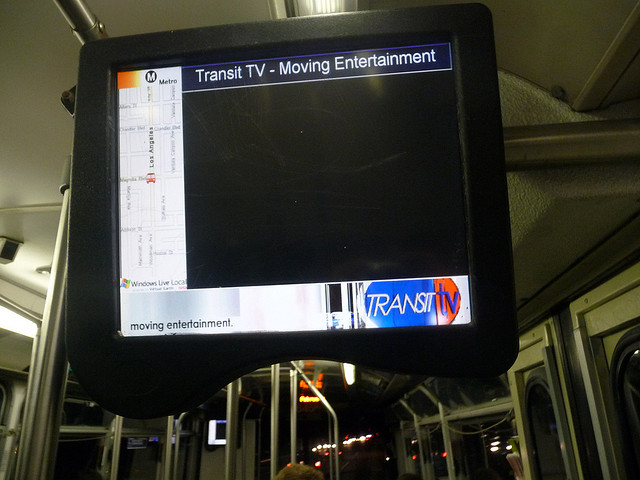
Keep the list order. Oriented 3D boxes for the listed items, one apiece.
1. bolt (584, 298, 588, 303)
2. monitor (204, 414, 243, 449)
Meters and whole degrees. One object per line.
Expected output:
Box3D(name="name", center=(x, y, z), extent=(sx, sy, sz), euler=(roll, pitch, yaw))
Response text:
Box3D(name="bolt", center=(1.542, 0.351, 3.361), extent=(0.009, 0.033, 0.052), euler=(-7, -25, 13))
Box3D(name="monitor", center=(-1.426, 2.771, 8.393), extent=(0.413, 0.407, 0.101), euler=(13, -19, -14))
